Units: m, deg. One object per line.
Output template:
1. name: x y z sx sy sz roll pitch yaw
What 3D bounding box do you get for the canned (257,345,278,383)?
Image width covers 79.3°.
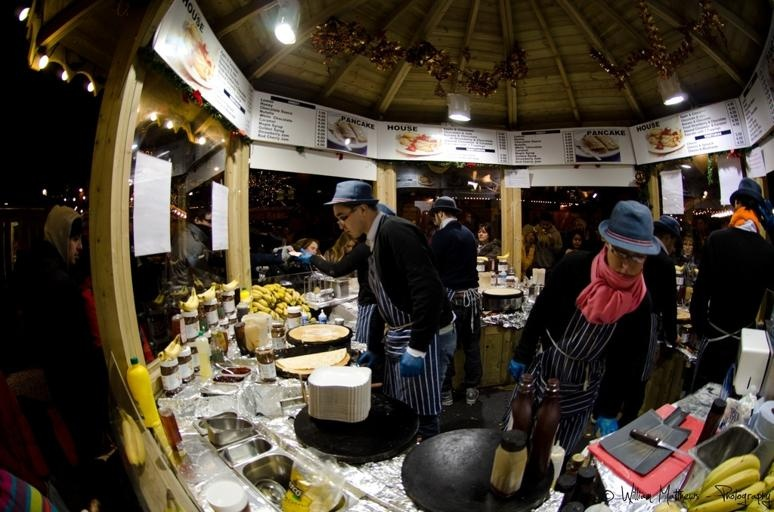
1. canned: -0.885 0.783 3.443 0.142 0.262 0.186 -1 -1 -15

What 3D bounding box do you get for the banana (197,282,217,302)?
1. banana: -1.472 0.304 3.887 0.110 0.085 0.200 -6 16 18

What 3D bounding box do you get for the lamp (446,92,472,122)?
1. lamp: 0.819 -1.721 5.508 0.280 0.329 0.369 0 -2 -9

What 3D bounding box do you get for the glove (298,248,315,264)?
1. glove: -0.835 -0.001 4.910 0.160 0.067 0.154 32 -14 -34

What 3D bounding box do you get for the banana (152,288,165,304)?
1. banana: -1.766 0.305 3.609 0.077 0.100 0.242 17 -12 -16

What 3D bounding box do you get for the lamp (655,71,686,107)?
1. lamp: 2.968 -1.762 4.788 0.275 0.307 0.284 15 28 32

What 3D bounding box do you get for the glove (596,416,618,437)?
1. glove: 1.551 1.202 3.294 0.108 0.111 0.198 -12 -17 -8

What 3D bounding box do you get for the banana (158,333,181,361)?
1. banana: -1.507 0.656 3.321 0.114 0.206 0.086 5 -42 17

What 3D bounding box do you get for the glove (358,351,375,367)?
1. glove: -0.152 0.825 3.796 0.100 0.139 0.053 20 -6 10

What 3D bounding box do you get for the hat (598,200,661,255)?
1. hat: 1.664 -0.209 3.257 0.305 0.230 0.421 3 10 1

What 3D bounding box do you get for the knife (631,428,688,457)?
1. knife: 1.603 1.103 2.748 0.224 0.039 0.029 20 -32 38

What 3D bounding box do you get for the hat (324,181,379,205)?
1. hat: -0.236 -0.462 3.538 0.246 0.090 0.214 3 -4 -41

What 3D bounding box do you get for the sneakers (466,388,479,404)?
1. sneakers: 0.958 1.548 5.196 0.083 0.147 0.217 -2 11 12

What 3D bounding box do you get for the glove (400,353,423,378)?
1. glove: 0.177 0.782 3.369 0.168 0.217 0.185 -1 -1 8

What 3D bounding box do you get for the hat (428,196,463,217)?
1. hat: 0.688 -0.619 5.661 0.309 0.144 0.368 2 -13 -1
